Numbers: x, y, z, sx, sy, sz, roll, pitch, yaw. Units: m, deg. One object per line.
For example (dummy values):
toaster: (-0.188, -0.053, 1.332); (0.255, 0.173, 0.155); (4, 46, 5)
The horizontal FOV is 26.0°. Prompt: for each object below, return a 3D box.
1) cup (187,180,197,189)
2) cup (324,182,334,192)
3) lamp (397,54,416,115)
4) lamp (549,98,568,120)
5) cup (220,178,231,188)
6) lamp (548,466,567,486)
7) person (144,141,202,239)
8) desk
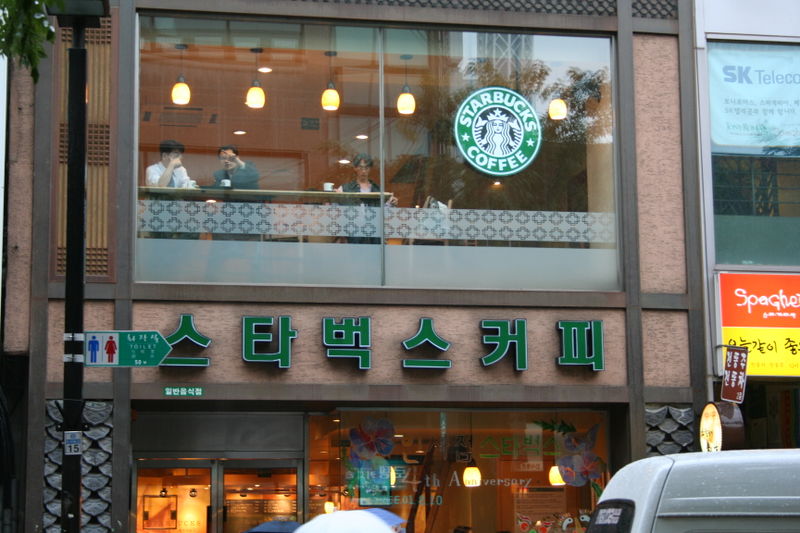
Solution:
cup: (-3.602, -1.421, 29.855); (0.143, 0.160, 0.142); (2, -3, 0)
cup: (-1.259, -1.386, 30.190); (0.173, 0.124, 0.139); (10, -16, -36)
lamp: (0.097, -3.192, 30.470); (0.333, 0.976, 0.104); (-1, 0, 0)
lamp: (2.791, -2.789, 30.793); (0.359, 0.332, 0.355); (3, -7, -37)
cup: (-3.051, -1.451, 30.002); (0.222, 0.156, 0.121); (1, 3, 1)
lamp: (2.774, 3.669, 30.525); (0.302, 0.299, 0.321); (-1, -1, -1)
person: (-3.958, -1.340, 29.862); (0.878, 1.468, 0.248); (-1, 0, -6)
desk: (-2.253, -0.514, 30.212); (4.557, 1.620, 1.066); (2, -10, 14)
